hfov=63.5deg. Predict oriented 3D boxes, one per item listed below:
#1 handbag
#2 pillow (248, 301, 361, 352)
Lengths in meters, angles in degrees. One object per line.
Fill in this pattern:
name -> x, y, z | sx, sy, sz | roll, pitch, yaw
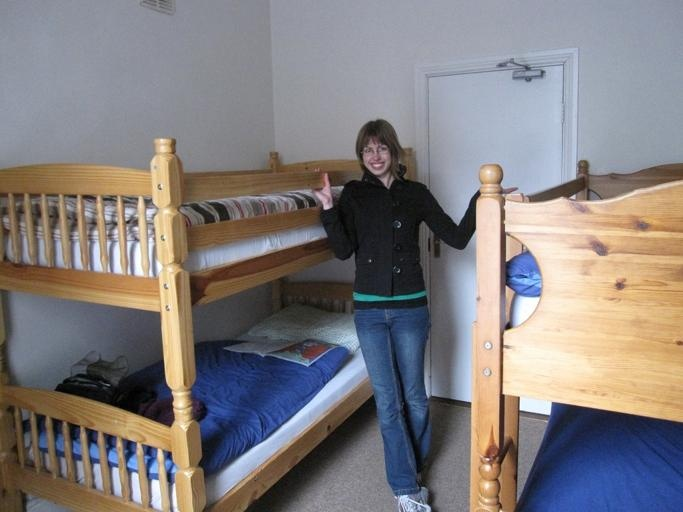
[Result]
handbag -> -1.061, 0.615, 2.489 | 0.282, 0.109, 0.226 | 15, 3, 10
pillow -> -0.148, 0.490, 3.735 | 0.740, 0.164, 0.725 | 4, 9, 14
